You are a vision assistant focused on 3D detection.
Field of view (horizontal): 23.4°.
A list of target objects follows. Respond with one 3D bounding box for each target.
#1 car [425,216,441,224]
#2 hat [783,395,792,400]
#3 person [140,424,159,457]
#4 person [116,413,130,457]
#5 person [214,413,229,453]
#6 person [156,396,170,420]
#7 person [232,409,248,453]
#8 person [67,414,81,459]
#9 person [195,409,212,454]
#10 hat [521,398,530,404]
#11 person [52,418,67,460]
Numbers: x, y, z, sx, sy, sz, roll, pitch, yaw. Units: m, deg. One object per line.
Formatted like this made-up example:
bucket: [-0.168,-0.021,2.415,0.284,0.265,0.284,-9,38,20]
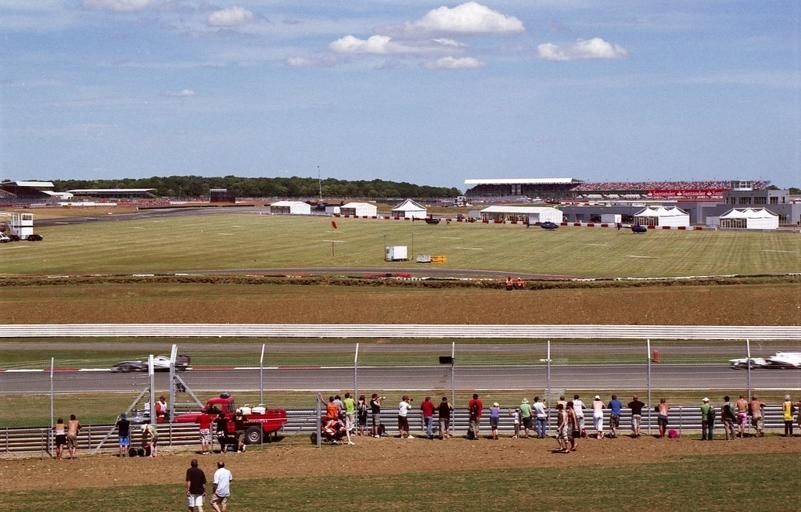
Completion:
car: [4.541,-4.866,264.499,1.737,0.713,1.893,-1,4,0]
hat: [31.315,11.363,154.937,0.717,0.205,0.854,0,3,3]
person: [-19.725,14.486,152.637,1.348,2.539,0.902,1,-8,-28]
person: [-22.060,14.059,152.583,1.282,3.382,1.221,-5,-8,17]
person: [-14.118,13.932,153.314,0.876,3.152,0.430,-2,-7,-7]
person: [-19.244,12.318,155.953,1.064,2.025,0.883,-2,-7,-5]
person: [-12.761,13.829,153.554,0.969,3.407,0.959,-3,-7,-4]
person: [-25.878,14.199,152.534,0.967,3.435,1.321,-2,-7,-10]
person: [-15.463,13.852,153.502,1.079,3.473,1.216,-2,-7,-7]
hat: [10.266,11.719,156.799,0.756,0.240,0.869,0,-2,1]
person: [-26.911,14.318,152.460,0.891,3.189,1.141,0,-8,-22]
